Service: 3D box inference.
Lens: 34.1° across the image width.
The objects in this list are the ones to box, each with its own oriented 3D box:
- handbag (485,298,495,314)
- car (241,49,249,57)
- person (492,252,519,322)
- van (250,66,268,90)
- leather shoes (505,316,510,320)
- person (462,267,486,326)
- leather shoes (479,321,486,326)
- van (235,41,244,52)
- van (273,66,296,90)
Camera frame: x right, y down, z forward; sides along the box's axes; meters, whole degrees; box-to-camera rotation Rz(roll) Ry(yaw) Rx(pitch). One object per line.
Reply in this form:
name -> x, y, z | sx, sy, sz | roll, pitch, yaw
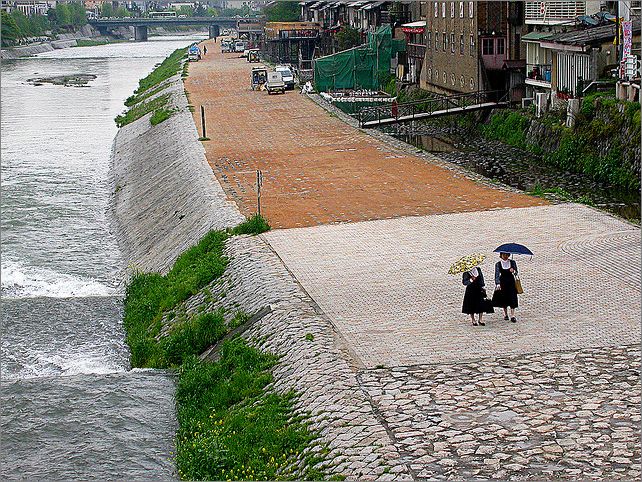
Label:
handbag -> 4.512, 1.698, 27.958 | 0.362, 0.421, 0.231 | -1, 14, 2
car -> -8.976, -22.071, 123.531 | 0.968, 0.787, 1.603 | -1, 10, -9
person -> 4.949, 1.195, 27.966 | 0.686, 1.803, 0.615 | 3, 20, 18
van -> -4.731, -12.373, 79.755 | 1.250, 1.397, 2.338 | 0, 18, -5
leather shoes -> 5.015, 2.041, 28.149 | 0.095, 0.104, 0.263 | -1, 3, 4
person -> 4.090, 1.449, 27.834 | 0.661, 1.537, 0.524 | -5, 19, -5
leather shoes -> 4.295, 2.167, 27.917 | 0.135, 0.104, 0.254 | 3, 0, -8
van -> -11.000, -26.077, 140.529 | 1.042, 1.200, 2.235 | -2, 20, 4
van -> -2.649, -12.714, 81.592 | 1.113, 1.314, 2.887 | -2, 9, -1
